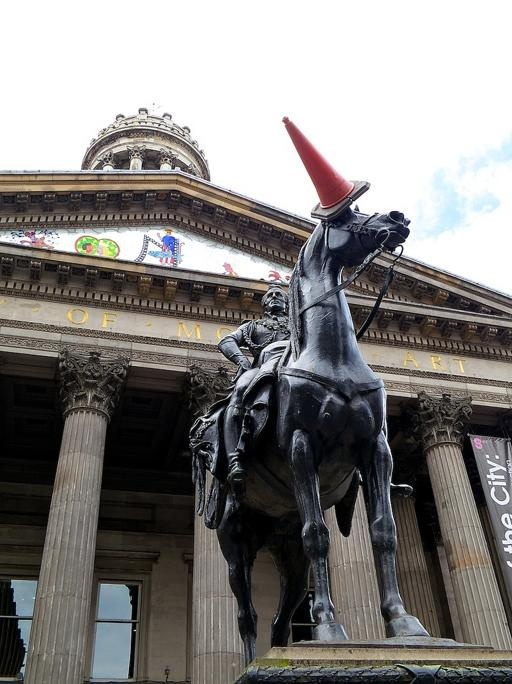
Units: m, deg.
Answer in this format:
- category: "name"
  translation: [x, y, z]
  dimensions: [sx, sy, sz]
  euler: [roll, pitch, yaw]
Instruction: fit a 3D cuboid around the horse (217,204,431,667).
- category: "horse"
  translation: [0.367, 0.458, 4.350]
  dimensions: [0.976, 2.727, 2.119]
  euler: [1, -37, -8]
